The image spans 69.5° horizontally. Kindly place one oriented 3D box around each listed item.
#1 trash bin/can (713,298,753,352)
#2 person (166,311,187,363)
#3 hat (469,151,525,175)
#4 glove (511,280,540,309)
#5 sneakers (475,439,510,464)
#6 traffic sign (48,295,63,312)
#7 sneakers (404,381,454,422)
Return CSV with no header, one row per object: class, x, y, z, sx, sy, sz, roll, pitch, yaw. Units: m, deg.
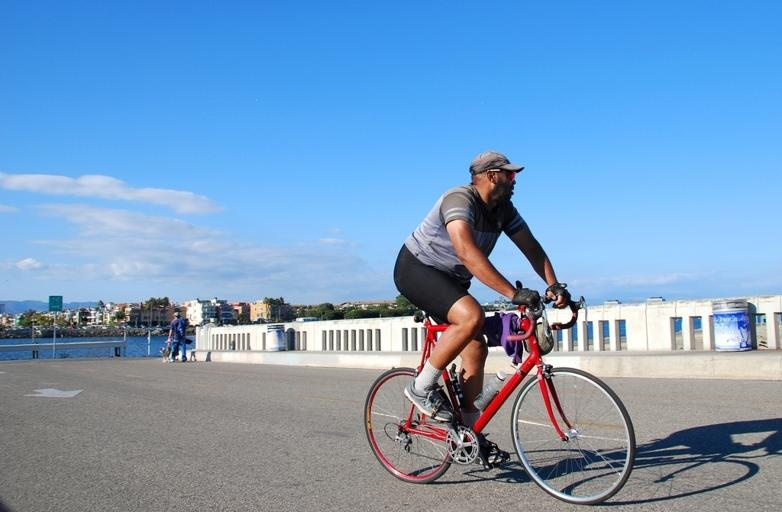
trash bin/can,7.182,1.426,11.835,0.615,1.038,0.294,-4,-8,22
person,-7.860,2.932,20.765,0.611,1.831,1.286,2,-8,-21
hat,0.962,-0.850,5.157,0.341,0.205,0.335,3,-8,-25
glove,1.171,0.362,4.858,0.243,0.182,0.186,-2,-8,13
sneakers,0.847,1.756,5.068,0.383,0.163,0.144,-4,-5,40
traffic sign,-19.050,2.728,31.846,0.940,0.847,0.590,-7,-10,42
sneakers,0.340,1.330,5.160,0.449,0.220,0.245,34,18,14
